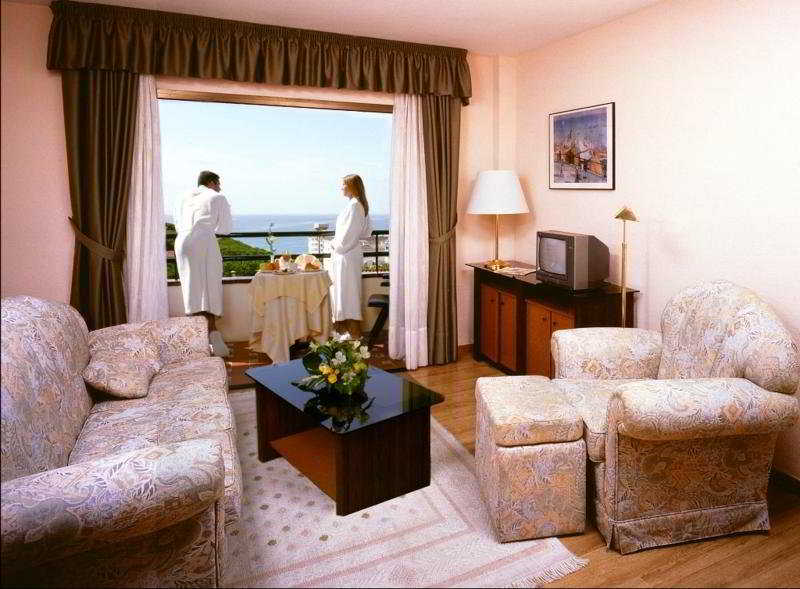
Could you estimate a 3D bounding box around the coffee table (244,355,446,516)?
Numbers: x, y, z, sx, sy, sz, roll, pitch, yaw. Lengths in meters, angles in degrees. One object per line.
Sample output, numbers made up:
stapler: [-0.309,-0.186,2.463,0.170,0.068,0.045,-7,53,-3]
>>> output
coffee table: [-0.261,0.568,3.434,0.696,0.524,1.091,-7,14,-33]

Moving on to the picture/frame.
picture/frame: [1.528,-1.261,4.868,0.029,0.781,0.735,-6,10,-31]

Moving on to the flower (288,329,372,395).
flower: [-0.396,0.437,3.611,0.394,0.286,0.390,-5,12,-33]

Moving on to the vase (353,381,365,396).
vase: [-0.247,0.580,3.602,0.077,0.079,0.057,-1,13,-17]

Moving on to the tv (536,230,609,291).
tv: [1.359,-0.203,4.627,0.421,0.491,0.608,-4,7,-16]

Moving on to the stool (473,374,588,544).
stool: [0.642,0.798,3.398,0.584,0.817,0.897,0,4,-6]

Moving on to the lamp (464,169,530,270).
lamp: [0.910,-0.717,5.414,0.559,0.874,0.637,2,14,12]

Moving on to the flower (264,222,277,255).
flower: [-1.461,-0.635,6.633,0.128,0.385,0.136,-10,16,-32]

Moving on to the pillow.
pillow: [-1.656,0.407,3.513,0.324,0.178,0.570,13,20,-11]

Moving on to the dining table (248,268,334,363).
dining table: [-1.047,0.157,5.780,0.791,0.837,0.797,3,4,37]
